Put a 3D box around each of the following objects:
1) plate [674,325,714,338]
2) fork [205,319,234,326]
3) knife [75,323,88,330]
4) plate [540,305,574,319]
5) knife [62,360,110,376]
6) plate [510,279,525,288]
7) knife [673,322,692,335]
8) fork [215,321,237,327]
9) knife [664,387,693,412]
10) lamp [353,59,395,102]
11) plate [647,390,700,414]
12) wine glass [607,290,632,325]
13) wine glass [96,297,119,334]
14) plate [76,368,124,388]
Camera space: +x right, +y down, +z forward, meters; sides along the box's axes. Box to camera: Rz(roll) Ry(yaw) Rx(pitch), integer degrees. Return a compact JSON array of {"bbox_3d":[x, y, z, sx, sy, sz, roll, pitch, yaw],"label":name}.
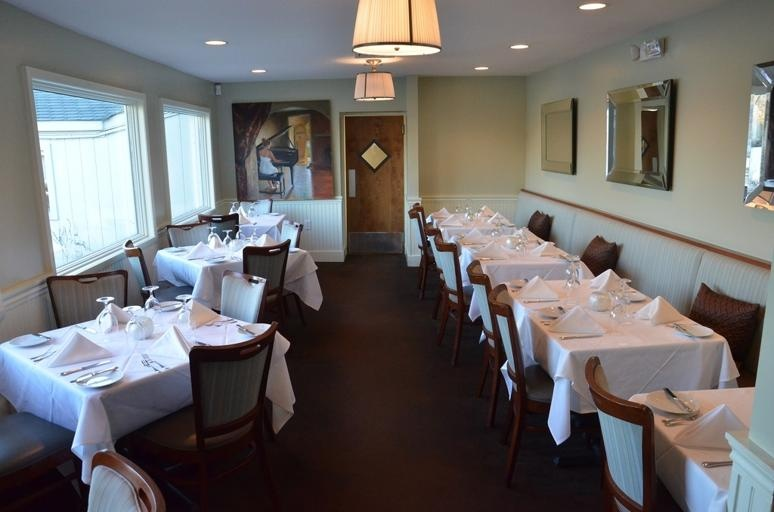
[{"bbox_3d":[2.273,0.567,3.902,0.258,0.037,0.173,7,15,26],"label":"plate"},{"bbox_3d":[-1.350,0.547,4.274,0.066,0.016,0.225,20,18,30],"label":"fork"},{"bbox_3d":[-2.456,0.574,4.228,0.043,0.055,0.363,19,-13,-23],"label":"knife"},{"bbox_3d":[1.365,0.457,4.286,0.194,0.047,0.338,8,15,30],"label":"plate"},{"bbox_3d":[-2.095,0.787,3.641,0.298,0.014,0.042,-9,33,-43],"label":"knife"},{"bbox_3d":[1.212,0.269,4.913,0.094,0.045,0.095,6,16,36],"label":"plate"},{"bbox_3d":[2.225,0.552,3.935,0.100,0.016,0.068,-16,21,-24],"label":"knife"},{"bbox_3d":[-1.312,0.553,4.265,0.057,0.015,0.113,5,9,28],"label":"fork"},{"bbox_3d":[1.785,0.894,3.225,0.040,0.040,0.254,-23,23,-1],"label":"knife"},{"bbox_3d":[-0.184,-2.506,7.499,0.600,0.568,0.604,-12,16,-39],"label":"lamp"},{"bbox_3d":[1.716,0.905,3.194,0.156,0.028,0.164,1,18,3],"label":"plate"},{"bbox_3d":[1.841,0.402,4.156,0.128,0.226,0.205,6,14,24],"label":"wine glass"},{"bbox_3d":[-2.260,0.490,4.244,0.201,0.353,0.217,-3,9,-35],"label":"wine glass"},{"bbox_3d":[-1.897,0.834,3.510,0.268,0.056,0.174,-9,16,-35],"label":"plate"}]
